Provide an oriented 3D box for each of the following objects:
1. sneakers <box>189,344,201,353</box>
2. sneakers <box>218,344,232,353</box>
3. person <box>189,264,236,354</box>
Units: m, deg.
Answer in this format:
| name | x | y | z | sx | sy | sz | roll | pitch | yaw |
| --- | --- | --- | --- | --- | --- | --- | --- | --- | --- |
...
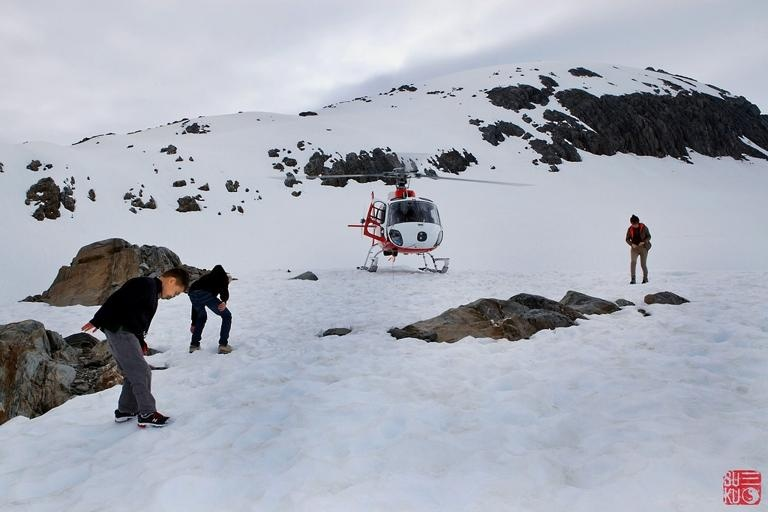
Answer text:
| name | x | y | z | sx | sy | sz | roll | pitch | yaw |
| --- | --- | --- | --- | --- | --- | --- | --- | --- | --- |
| sneakers | -5.052 | 2.473 | 14.880 | 0.237 | 0.162 | 0.169 | -19 | 4 | 13 |
| sneakers | -4.231 | 2.477 | 14.832 | 0.291 | 0.169 | 0.202 | -11 | 0 | 16 |
| person | -4.649 | 1.388 | 14.848 | 1.089 | 2.338 | 1.311 | -2 | 4 | -20 |
